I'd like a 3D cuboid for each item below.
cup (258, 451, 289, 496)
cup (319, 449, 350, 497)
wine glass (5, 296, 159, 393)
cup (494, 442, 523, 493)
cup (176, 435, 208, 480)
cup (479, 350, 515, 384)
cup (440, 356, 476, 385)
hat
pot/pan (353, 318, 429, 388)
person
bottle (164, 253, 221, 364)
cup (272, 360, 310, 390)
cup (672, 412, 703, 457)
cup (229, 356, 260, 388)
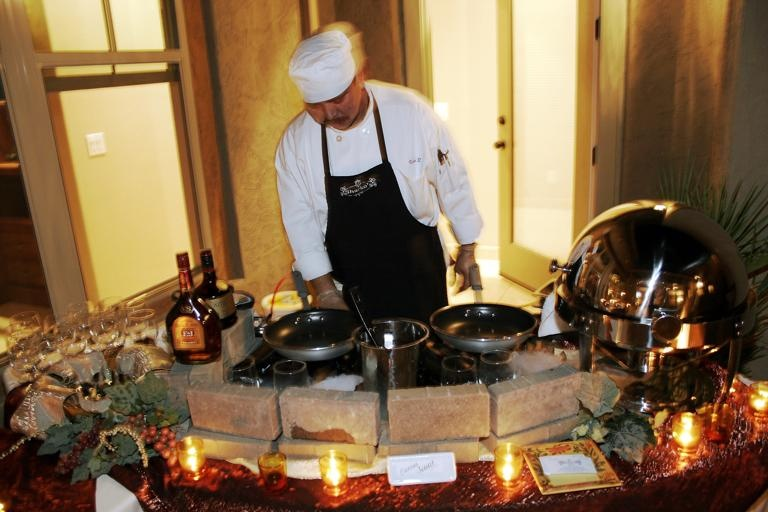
[{"bbox_3d":[-0.279,0.557,1.360,0.081,0.087,0.081,-3,8,0],"label":"cup"},{"bbox_3d":[-0.123,0.555,1.343,0.093,0.100,0.090,0,0,0],"label":"cup"},{"bbox_3d":[-0.961,0.322,1.730,0.399,0.145,0.254,-29,13,-18],"label":"wine glass"},{"bbox_3d":[0.319,0.535,1.345,0.092,0.102,0.092,-1,9,0],"label":"cup"},{"bbox_3d":[-0.510,0.541,1.414,0.093,0.105,0.095,-2,5,0],"label":"cup"},{"bbox_3d":[0.312,0.309,1.465,0.093,0.087,0.091,-4,2,0],"label":"cup"},{"bbox_3d":[0.210,0.303,1.456,0.084,0.079,0.080,-1,9,0],"label":"cup"},{"bbox_3d":[-0.207,-0.698,2.005,0.216,0.152,0.280,-10,43,18],"label":"hat"},{"bbox_3d":[0.019,0.296,1.543,0.203,0.175,0.228,4,19,18],"label":"pot/pan"},{"bbox_3d":[0.023,0.044,2.554,0.811,2.114,0.647,-6,42,9],"label":"person"},{"bbox_3d":[-0.574,0.144,1.568,0.158,0.352,0.124,-9,20,-19],"label":"bottle"},{"bbox_3d":[-0.258,0.329,1.476,0.079,0.073,0.078,0,11,0],"label":"cup"},{"bbox_3d":[0.823,0.493,1.435,0.072,0.084,0.078,1,2,0],"label":"cup"},{"bbox_3d":[-0.392,0.329,1.524,0.075,0.068,0.075,2,7,0],"label":"cup"}]
